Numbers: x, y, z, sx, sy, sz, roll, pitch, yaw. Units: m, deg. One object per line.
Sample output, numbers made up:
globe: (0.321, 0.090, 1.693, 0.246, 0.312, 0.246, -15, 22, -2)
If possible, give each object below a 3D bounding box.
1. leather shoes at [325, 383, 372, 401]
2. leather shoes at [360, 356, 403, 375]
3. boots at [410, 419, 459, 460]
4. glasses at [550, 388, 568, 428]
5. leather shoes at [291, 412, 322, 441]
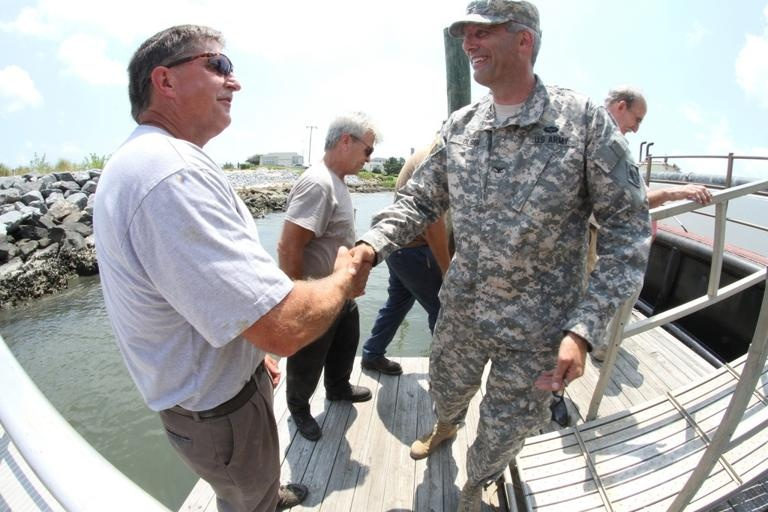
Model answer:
leather shoes: (-0.309, 1.214, 4.275, 0.425, 0.196, 0.158, -1, 11, -6)
leather shoes: (-0.016, 1.035, 4.585, 0.401, 0.170, 0.153, 4, 19, 2)
boots: (0.403, 1.419, 3.649, 0.396, 0.125, 0.245, -18, -25, -20)
glasses: (1.484, 1.270, 3.910, 0.171, 0.103, 0.309, -27, 14, 21)
leather shoes: (-0.630, 1.351, 3.878, 0.128, 0.134, 0.337, -11, 17, -40)
